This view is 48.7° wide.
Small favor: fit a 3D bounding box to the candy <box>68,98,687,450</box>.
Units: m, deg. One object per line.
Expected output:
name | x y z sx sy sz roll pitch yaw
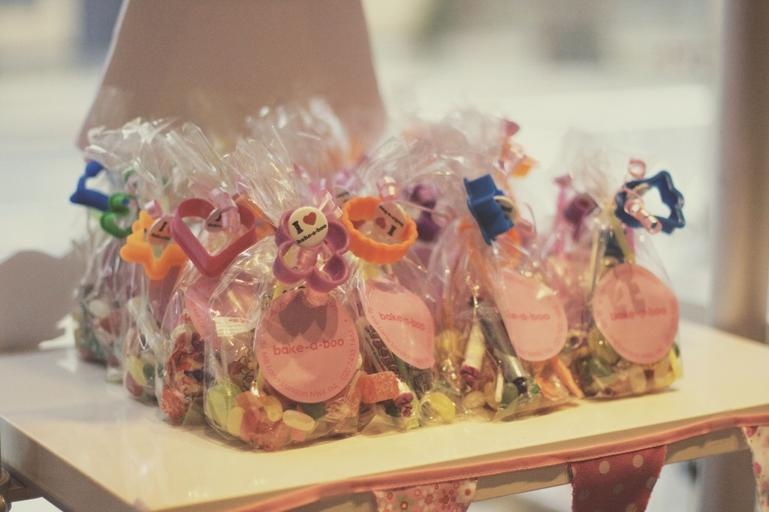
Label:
candy | -0.031 -0.018 1.684 1.172 0.573 0.584 -10 21 -9
